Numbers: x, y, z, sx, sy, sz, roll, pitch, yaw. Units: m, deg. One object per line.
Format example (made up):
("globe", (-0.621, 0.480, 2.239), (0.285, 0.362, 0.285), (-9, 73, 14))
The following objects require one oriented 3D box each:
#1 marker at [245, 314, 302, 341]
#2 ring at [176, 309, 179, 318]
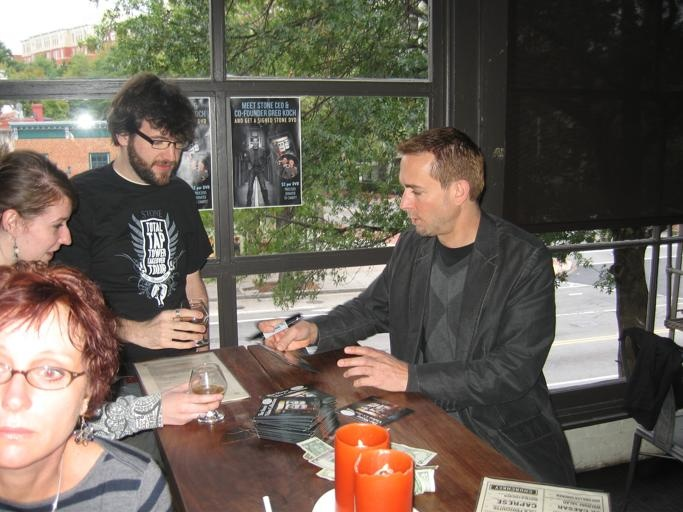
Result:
("marker", (-0.312, 0.329, 2.426), (0.300, 0.075, 0.052), (-30, 22, 13))
("ring", (-0.682, 0.238, 2.199), (0.007, 0.028, 0.027), (7, 5, -35))
